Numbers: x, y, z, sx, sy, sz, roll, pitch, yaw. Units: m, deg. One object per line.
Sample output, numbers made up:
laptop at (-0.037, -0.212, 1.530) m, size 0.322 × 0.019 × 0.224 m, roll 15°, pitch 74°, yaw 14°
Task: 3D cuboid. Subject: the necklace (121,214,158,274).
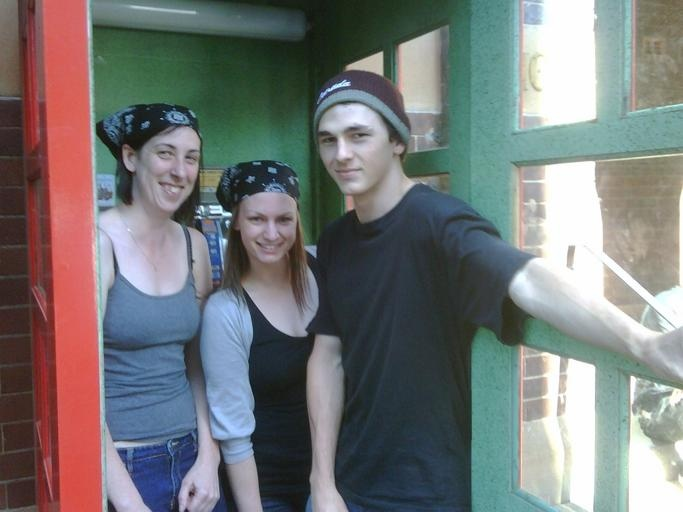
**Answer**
necklace at (-0.635, -0.036, 2.371) m, size 0.056 × 0.218 × 0.022 m, roll -28°, pitch -4°, yaw -25°
